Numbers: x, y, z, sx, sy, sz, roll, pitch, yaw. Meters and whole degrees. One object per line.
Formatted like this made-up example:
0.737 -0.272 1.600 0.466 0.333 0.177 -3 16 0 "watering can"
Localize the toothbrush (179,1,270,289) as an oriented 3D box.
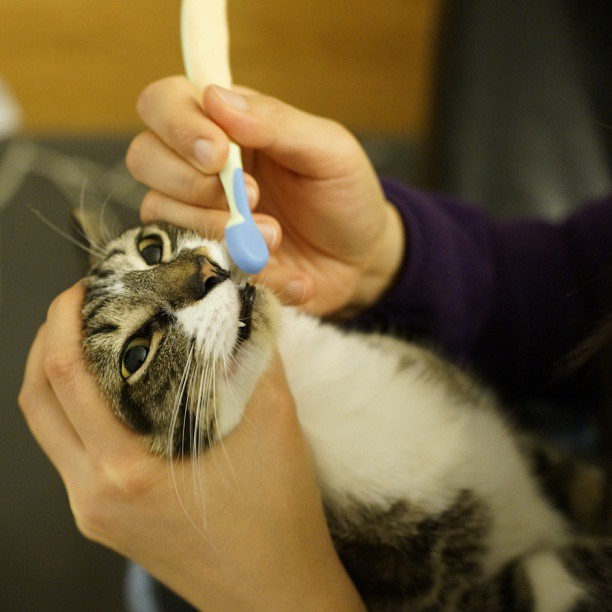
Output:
-0.088 -0.196 0.837 0.071 0.029 0.399 -7 88 -38 "toothbrush"
